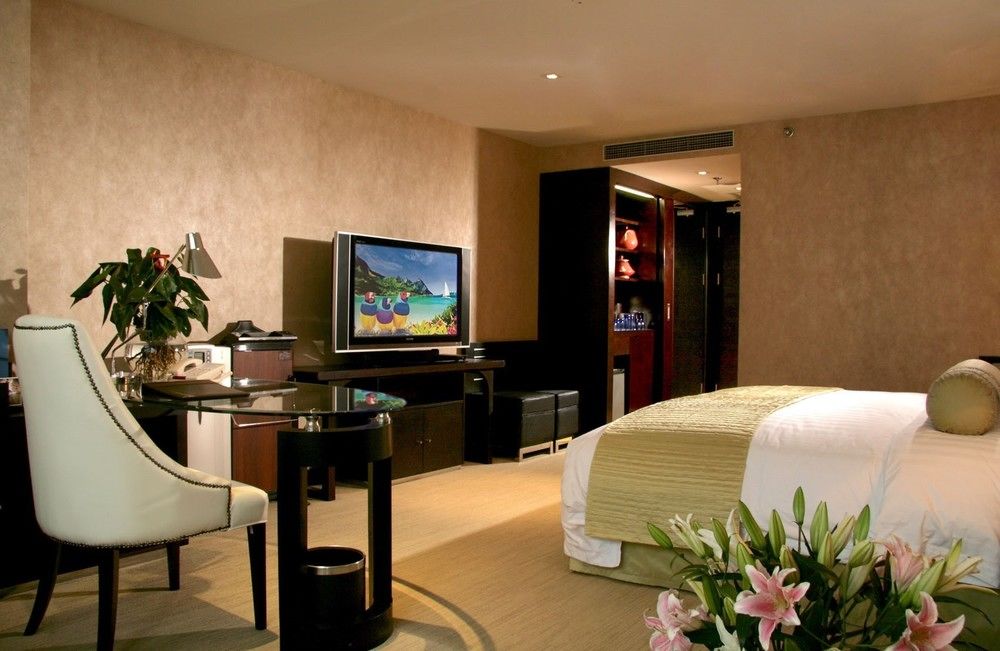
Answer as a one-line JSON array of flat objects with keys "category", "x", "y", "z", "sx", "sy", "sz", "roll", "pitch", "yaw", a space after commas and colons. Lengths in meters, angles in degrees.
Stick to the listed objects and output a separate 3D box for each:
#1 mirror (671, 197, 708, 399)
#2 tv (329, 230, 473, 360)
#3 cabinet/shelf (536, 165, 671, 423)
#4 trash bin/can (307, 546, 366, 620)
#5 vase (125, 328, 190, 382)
[{"category": "mirror", "x": 2.494, "y": -0.339, "z": 9.490, "sx": 0.462, "sy": 2.457, "sz": 0.603, "roll": 2, "pitch": 6, "yaw": 12}, {"category": "tv", "x": -0.834, "y": -0.231, "z": 5.935, "sx": 0.126, "sy": 0.689, "sz": 1.174, "roll": 3, "pitch": 2, "yaw": 41}, {"category": "cabinet/shelf", "x": 1.105, "y": -0.306, "z": 8.028, "sx": 0.945, "sy": 2.695, "sz": 1.466, "roll": 5, "pitch": 7, "yaw": 35}, {"category": "trash bin/can", "x": -0.750, "y": 1.177, "z": 3.367, "sx": 0.264, "sy": 0.207, "sz": 0.287, "roll": 0, "pitch": -4, "yaw": -8}, {"category": "vase", "x": -1.752, "y": 0.148, "z": 3.771, "sx": 0.283, "sy": 0.195, "sz": 0.252, "roll": -4, "pitch": 7, "yaw": -40}]
